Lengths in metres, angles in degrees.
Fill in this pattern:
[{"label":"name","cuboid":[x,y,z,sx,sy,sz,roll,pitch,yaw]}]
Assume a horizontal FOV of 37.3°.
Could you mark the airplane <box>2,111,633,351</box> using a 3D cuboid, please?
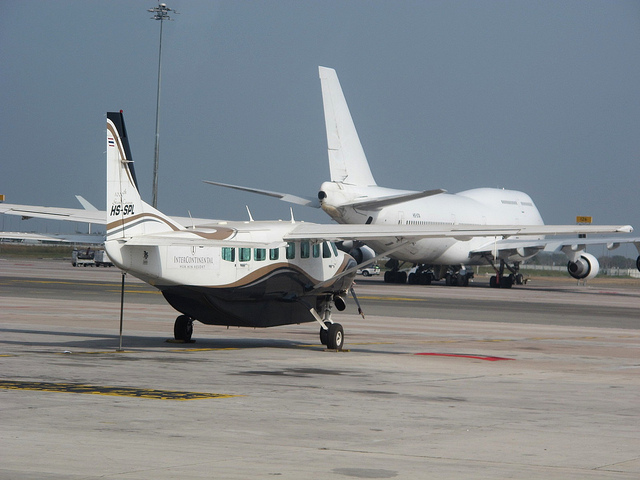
[{"label":"airplane","cuboid":[-2.335,0.473,25.270,13.838,3.474,8.976,2,2,36]}]
